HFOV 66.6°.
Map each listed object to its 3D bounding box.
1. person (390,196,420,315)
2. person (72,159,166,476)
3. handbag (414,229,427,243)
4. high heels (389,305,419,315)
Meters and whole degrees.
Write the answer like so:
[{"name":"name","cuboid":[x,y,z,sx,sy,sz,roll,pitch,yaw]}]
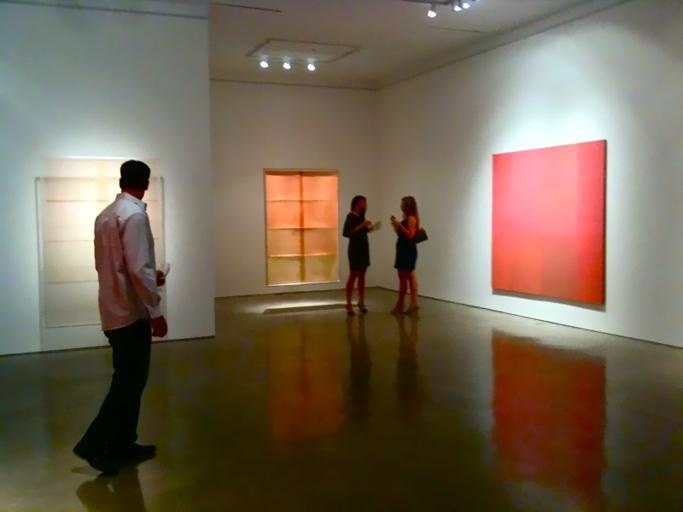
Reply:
[{"name":"person","cuboid":[1.151,0.002,9.233,0.506,2.096,0.606,0,5,6]},{"name":"person","cuboid":[-1.732,0.582,4.124,0.670,2.154,0.420,-2,5,-14]},{"name":"handbag","cuboid":[1.418,-0.377,9.217,0.185,0.246,0.622,1,7,14]},{"name":"high heels","cuboid":[1.146,0.991,9.457,0.539,0.264,0.199,3,-1,-8]}]
